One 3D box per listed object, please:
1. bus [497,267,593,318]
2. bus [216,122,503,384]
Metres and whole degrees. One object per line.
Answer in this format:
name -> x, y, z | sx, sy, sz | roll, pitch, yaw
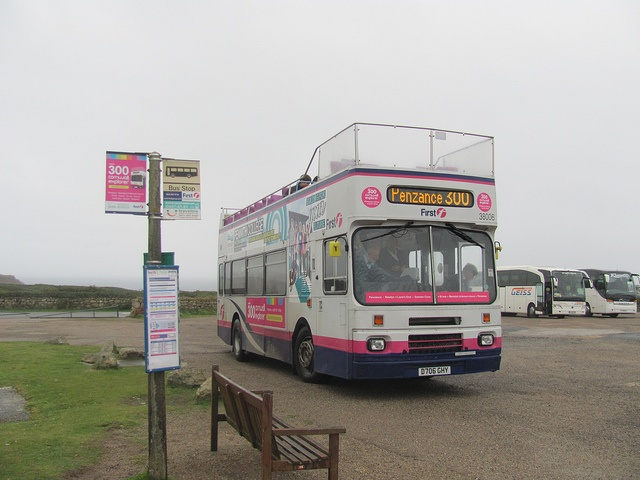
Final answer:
bus -> 16.917, 3.919, 39.181 | 3.424, 4.496, 10.216 | 1, -7, -16
bus -> 0.476, 1.025, 15.717 | 3.793, 5.862, 11.067 | 1, -7, -20
